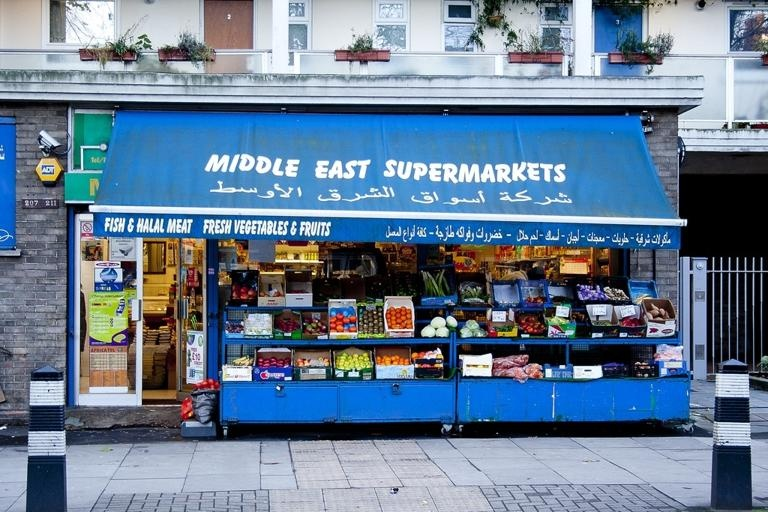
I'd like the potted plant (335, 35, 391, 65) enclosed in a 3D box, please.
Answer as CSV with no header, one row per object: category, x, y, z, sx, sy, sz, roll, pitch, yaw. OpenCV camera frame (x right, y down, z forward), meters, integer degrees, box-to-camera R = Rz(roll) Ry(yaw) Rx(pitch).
potted plant,-0.487,-3.989,24.336,0.875,0.414,0.814,0,2,-12

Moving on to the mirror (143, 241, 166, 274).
mirror,-4.415,0.065,23.782,0.671,0.683,0.047,3,-8,-32

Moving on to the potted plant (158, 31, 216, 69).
potted plant,-3.803,-4.005,24.166,1.088,0.391,0.994,19,15,12

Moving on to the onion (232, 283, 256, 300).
onion,-2.593,0.676,22.877,0.341,0.266,0.099,0,-7,-4

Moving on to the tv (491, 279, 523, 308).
tv,2.272,0.725,23.223,0.527,0.443,0.487,1,-8,-3

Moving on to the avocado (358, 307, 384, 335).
avocado,-0.269,1.208,22.647,0.422,0.506,0.175,-1,-13,-5

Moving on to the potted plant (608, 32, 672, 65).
potted plant,5.133,-4.096,24.999,1.201,0.478,0.803,1,1,0

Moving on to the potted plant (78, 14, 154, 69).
potted plant,-5.148,-3.869,23.870,1.368,0.571,0.545,-2,-1,-12

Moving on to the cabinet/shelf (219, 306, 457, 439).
cabinet/shelf,-0.965,1.994,22.604,4.040,1.777,0.813,-2,-1,-2

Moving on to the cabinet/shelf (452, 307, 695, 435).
cabinet/shelf,3.388,2.274,23.029,4.212,1.440,1.542,-2,-1,2

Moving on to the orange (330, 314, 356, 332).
orange,-0.764,1.237,22.383,0.399,0.334,0.142,0,-26,-8
